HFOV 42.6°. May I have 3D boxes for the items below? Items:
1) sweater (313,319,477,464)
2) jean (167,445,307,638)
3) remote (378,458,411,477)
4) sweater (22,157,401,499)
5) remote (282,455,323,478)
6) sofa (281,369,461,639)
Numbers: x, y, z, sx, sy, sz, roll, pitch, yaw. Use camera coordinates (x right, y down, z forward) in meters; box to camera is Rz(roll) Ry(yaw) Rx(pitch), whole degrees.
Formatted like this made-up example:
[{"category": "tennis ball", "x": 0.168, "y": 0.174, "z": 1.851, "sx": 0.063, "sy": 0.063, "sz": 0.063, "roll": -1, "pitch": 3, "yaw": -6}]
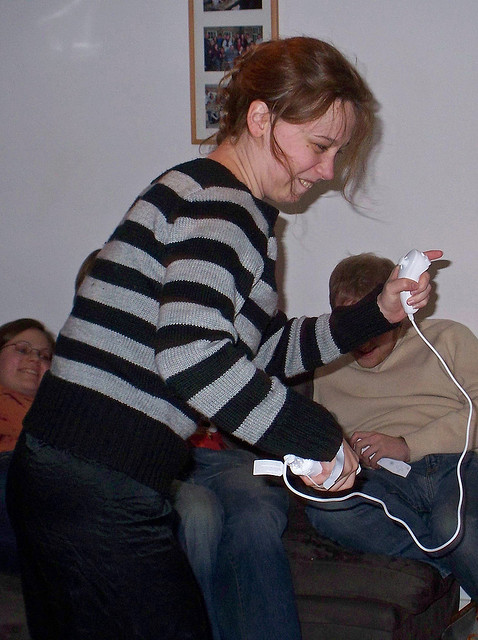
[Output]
[{"category": "sweater", "x": 0.406, "y": 0.176, "z": 1.499, "sx": 0.348, "sy": 0.286, "sz": 0.195, "roll": -12, "pitch": -25, "yaw": 30}, {"category": "jean", "x": -0.006, "y": 0.414, "z": 1.322, "sx": 0.192, "sy": 0.179, "sz": 0.659, "roll": -11, "pitch": 13, "yaw": 1}, {"category": "remote", "x": 0.382, "y": 0.358, "z": 1.518, "sx": 0.063, "sy": 0.056, "sz": 0.037, "roll": 21, "pitch": 54, "yaw": 11}, {"category": "sweater", "x": 0.021, "y": 0.031, "z": 0.937, "sx": 0.512, "sy": 0.421, "sz": 0.411, "roll": 12, "pitch": 8, "yaw": -42}, {"category": "remote", "x": 0.083, "y": 0.190, "z": 0.813, "sx": 0.050, "sy": 0.018, "sz": 0.033, "roll": 9, "pitch": -24, "yaw": 6}, {"category": "sofa", "x": 0.208, "y": 0.391, "z": 1.470, "sx": 0.607, "sy": 0.433, "sz": 0.522, "roll": -5, "pitch": 0, "yaw": -4}]
